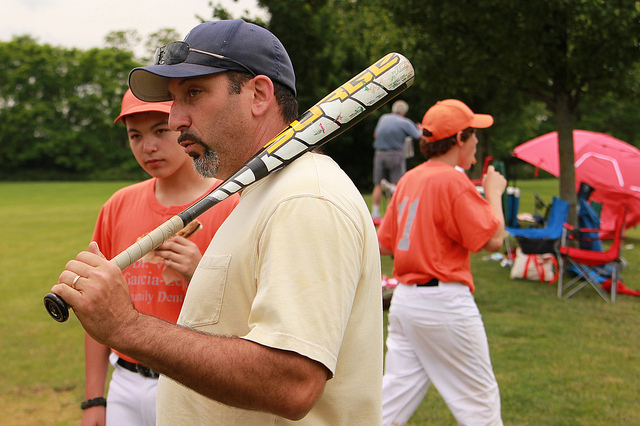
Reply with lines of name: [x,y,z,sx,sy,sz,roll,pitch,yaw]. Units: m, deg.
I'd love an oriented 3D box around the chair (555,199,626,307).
chair: [1.984,0.357,5.235,0.555,1.166,0.660,2,-9,19]

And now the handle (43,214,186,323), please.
handle: [-1.243,0.341,3.949,0.152,0.172,0.816,8,29,29]

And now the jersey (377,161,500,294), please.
jersey: [0.893,0.164,5.600,0.592,1.180,1.233,-5,4,-44]

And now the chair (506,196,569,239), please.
chair: [1.630,0.049,5.096,0.405,0.279,0.188,-4,11,14]

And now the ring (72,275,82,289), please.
ring: [-1.314,0.374,3.658,0.010,0.055,0.047,24,-37,-4]
